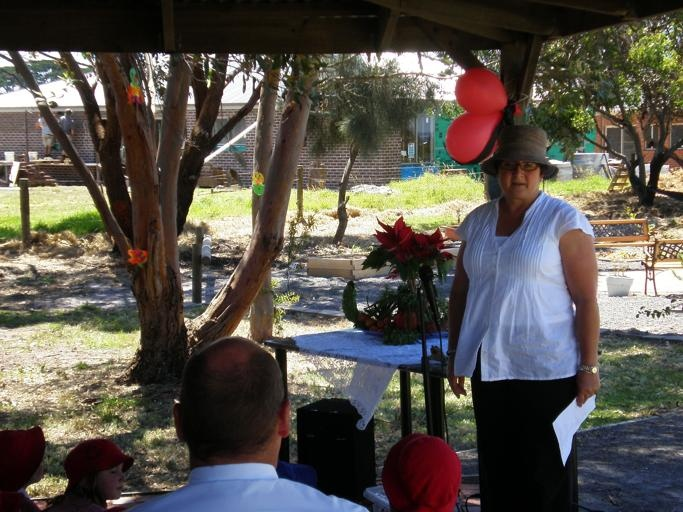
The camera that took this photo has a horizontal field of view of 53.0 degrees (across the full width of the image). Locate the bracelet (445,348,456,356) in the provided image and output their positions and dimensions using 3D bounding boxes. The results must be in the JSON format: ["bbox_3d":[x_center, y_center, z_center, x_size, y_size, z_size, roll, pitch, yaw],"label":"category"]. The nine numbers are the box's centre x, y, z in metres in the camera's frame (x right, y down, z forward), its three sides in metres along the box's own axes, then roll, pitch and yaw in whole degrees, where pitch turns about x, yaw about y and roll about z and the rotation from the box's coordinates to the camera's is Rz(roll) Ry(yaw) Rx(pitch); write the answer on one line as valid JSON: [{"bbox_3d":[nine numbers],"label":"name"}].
[{"bbox_3d":[0.625,0.549,3.936,0.046,0.033,0.043,-4,4,-40],"label":"bracelet"}]

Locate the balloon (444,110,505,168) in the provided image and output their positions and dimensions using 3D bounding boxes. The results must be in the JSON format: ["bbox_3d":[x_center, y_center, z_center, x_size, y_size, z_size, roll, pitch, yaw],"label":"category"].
[{"bbox_3d":[0.885,-0.810,4.545,0.364,0.310,0.178,-39,-15,7],"label":"balloon"}]

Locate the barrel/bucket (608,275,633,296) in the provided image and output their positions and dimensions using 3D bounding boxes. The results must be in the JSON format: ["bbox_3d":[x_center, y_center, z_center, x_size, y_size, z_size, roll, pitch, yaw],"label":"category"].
[{"bbox_3d":[4.591,0.504,11.344,0.321,0.274,0.351,2,-4,0],"label":"barrel/bucket"}]

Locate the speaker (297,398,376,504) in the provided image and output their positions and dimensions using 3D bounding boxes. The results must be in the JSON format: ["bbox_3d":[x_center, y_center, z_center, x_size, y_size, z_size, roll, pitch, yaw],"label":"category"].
[{"bbox_3d":[-0.040,1.271,4.682,0.505,0.659,0.505,-6,17,-32],"label":"speaker"}]

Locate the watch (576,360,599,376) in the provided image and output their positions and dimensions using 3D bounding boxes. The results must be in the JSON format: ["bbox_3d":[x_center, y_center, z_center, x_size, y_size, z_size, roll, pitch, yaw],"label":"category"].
[{"bbox_3d":[1.272,0.585,3.531,0.080,0.063,0.093,3,-8,5],"label":"watch"}]

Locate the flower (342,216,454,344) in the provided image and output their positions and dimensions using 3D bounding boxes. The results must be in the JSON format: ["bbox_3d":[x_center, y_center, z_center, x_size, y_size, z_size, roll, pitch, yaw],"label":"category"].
[{"bbox_3d":[0.527,0.172,4.633,0.860,1.069,0.747,2,2,-44],"label":"flower"}]

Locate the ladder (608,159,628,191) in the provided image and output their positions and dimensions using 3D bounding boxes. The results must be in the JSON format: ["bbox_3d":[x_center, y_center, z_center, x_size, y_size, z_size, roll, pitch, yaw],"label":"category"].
[{"bbox_3d":[9.424,-2.660,23.222,0.652,0.971,2.468,3,6,23],"label":"ladder"}]

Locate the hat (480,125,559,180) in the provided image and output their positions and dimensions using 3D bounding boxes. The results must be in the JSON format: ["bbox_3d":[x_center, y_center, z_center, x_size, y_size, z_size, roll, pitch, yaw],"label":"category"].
[{"bbox_3d":[1.010,-0.568,3.893,0.369,0.331,0.354,3,7,20],"label":"hat"}]

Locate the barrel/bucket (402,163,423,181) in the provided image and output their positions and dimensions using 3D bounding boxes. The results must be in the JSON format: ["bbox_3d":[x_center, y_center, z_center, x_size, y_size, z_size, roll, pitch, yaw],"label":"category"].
[{"bbox_3d":[2.770,-3.334,27.107,0.920,0.645,0.533,1,5,4],"label":"barrel/bucket"}]

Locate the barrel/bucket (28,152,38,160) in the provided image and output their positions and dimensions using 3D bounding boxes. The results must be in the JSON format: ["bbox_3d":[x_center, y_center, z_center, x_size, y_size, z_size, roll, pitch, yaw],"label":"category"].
[{"bbox_3d":[-10.972,-3.507,24.262,0.287,0.347,1.771,-2,6,-25],"label":"barrel/bucket"}]

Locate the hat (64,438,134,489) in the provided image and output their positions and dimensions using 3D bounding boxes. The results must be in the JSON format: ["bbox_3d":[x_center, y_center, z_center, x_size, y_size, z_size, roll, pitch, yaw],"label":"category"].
[{"bbox_3d":[-1.256,1.083,3.565,0.294,0.163,0.218,-24,6,-19],"label":"hat"}]
